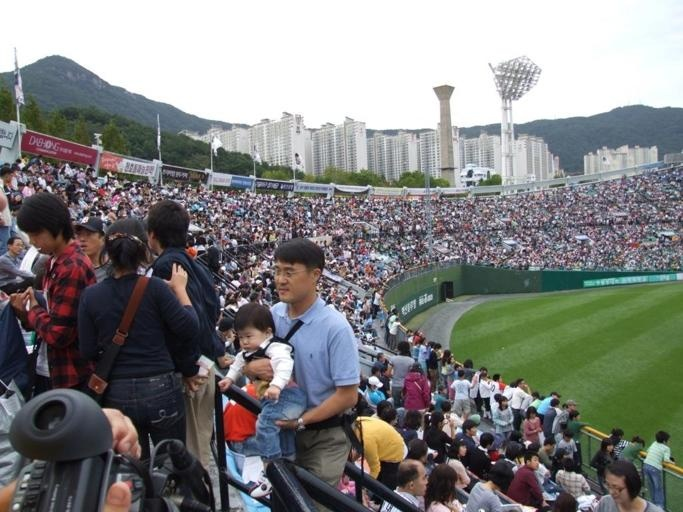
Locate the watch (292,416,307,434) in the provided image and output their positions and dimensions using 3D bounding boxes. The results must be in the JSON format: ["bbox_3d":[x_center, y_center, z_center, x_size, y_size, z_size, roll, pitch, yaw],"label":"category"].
[{"bbox_3d":[-0.283,1.176,3.683,0.069,0.103,0.102,10,-18,-10],"label":"watch"}]

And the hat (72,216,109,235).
[{"bbox_3d":[-2.227,-0.287,4.755,0.156,0.131,0.226,6,-20,17],"label":"hat"}]

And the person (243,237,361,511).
[{"bbox_3d":[-0.187,0.759,3.783,0.623,1.759,0.568,-3,5,5],"label":"person"}]

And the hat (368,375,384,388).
[{"bbox_3d":[0.642,2.605,10.838,0.308,0.112,0.210,16,13,37],"label":"hat"}]
